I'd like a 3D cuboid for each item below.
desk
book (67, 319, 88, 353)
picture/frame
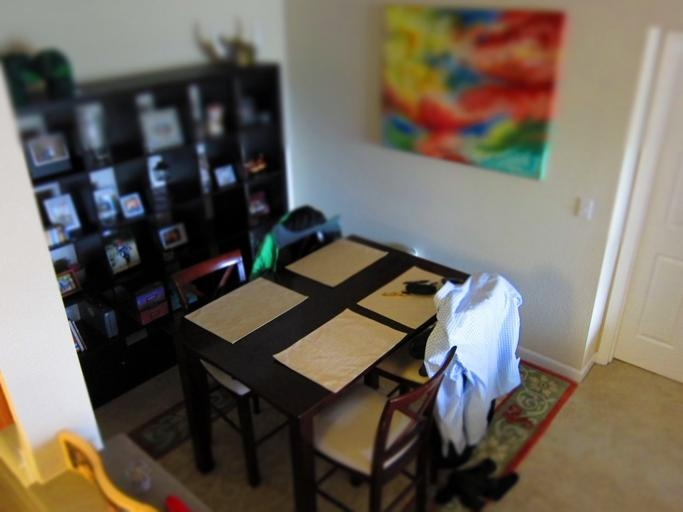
[{"bbox_3d":[-0.101,0.979,3.049,1.088,1.162,1.661,27,47,31],"label":"desk"},{"bbox_3d":[-1.503,0.469,2.934,0.052,0.207,0.228,-15,30,-27],"label":"book"},{"bbox_3d":[-1.180,-0.356,3.177,0.476,1.467,1.328,16,31,29],"label":"picture/frame"}]
